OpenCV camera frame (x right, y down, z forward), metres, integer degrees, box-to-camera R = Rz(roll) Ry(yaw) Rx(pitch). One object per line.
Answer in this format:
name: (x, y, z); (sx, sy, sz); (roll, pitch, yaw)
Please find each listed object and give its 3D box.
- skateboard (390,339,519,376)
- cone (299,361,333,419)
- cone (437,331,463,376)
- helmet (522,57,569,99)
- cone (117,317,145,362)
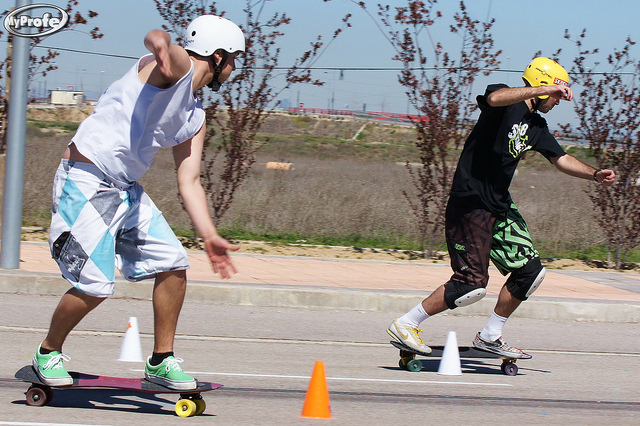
skateboard: (1.445, 1.593, 9.922); (1.703, 0.152, 0.471); (0, 3, -6)
cone: (0.021, 1.668, 8.446); (0.315, 0.543, 0.197); (11, 13, 0)
cone: (1.470, 1.542, 9.776); (0.279, 0.475, 0.243); (13, 13, 7)
helmet: (2.496, -1.549, 9.788); (0.528, 0.313, 0.321); (11, 11, 26)
cone: (-1.979, 1.348, 9.582); (0.284, 0.438, 0.305); (9, 12, -8)
